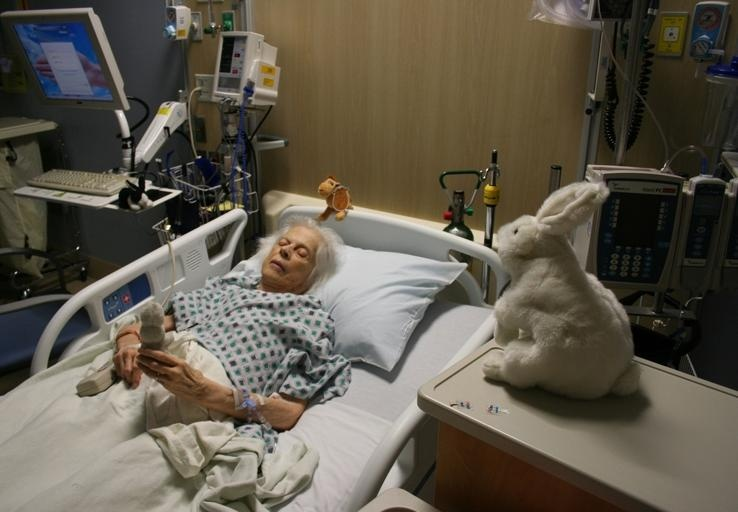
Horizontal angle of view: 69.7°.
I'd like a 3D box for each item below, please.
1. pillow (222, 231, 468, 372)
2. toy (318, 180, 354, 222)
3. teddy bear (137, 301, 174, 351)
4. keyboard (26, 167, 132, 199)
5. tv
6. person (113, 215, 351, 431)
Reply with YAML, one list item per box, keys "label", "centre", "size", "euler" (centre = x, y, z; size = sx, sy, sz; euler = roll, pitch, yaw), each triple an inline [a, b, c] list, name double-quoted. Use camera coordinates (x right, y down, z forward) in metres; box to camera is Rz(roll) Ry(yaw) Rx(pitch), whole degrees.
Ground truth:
- label: "pillow"
  centre: [0.041, 0.197, 2.333]
  size: [0.540, 0.145, 0.499]
  euler: [14, 47, 28]
- label: "toy"
  centre: [-0.168, -0.243, 2.489]
  size: [0.110, 0.139, 0.229]
  euler: [-10, -19, 28]
- label: "teddy bear"
  centre: [-0.786, 0.258, 1.926]
  size: [0.091, 0.225, 0.089]
  euler: [-18, 42, -41]
- label: "keyboard"
  centre: [-1.547, -0.384, 2.806]
  size: [0.335, 0.053, 0.149]
  euler: [9, 40, 20]
- label: "tv"
  centre: [-1.598, -1.021, 2.755]
  size: [0.669, 0.492, 0.154]
  euler: [12, 23, 19]
- label: "person"
  centre: [-0.430, 0.319, 2.158]
  size: [0.690, 0.330, 0.832]
  euler: [15, 32, 21]
